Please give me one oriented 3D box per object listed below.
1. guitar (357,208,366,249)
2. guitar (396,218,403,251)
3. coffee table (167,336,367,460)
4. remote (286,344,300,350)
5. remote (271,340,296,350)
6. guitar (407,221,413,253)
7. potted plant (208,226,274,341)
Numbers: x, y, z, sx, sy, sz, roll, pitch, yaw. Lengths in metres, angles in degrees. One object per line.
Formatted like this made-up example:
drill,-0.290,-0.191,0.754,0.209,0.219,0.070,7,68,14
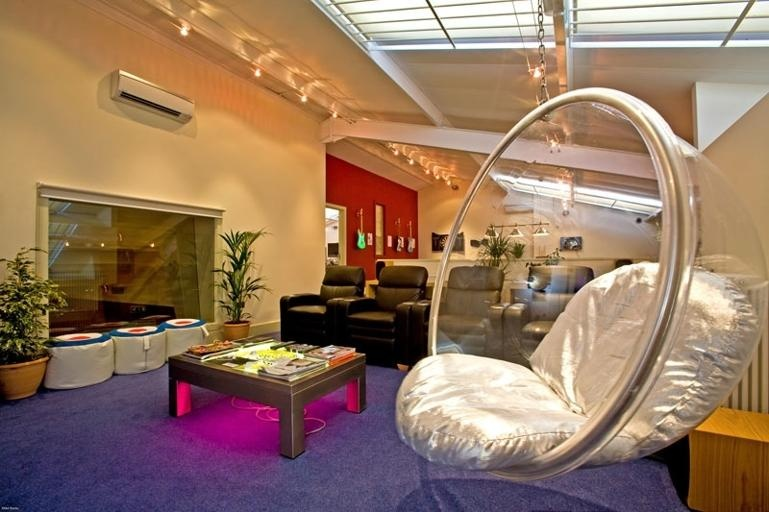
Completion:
guitar,-0.439,-0.515,9.350,0.170,0.816,0.402,2,-3,-2
guitar,0.323,-0.456,11.165,0.110,0.799,0.452,2,-3,13
coffee table,-1.003,1.140,3.962,1.513,0.681,0.697,2,-3,9
remote,-0.826,0.820,4.430,0.055,0.040,0.054,7,-23,29
remote,-0.934,0.825,4.525,0.151,0.042,0.160,-1,0,30
guitar,0.617,-0.444,11.816,0.103,0.792,0.517,2,-3,12
potted plant,-1.795,0.332,6.299,0.755,1.439,0.607,4,-3,-35
